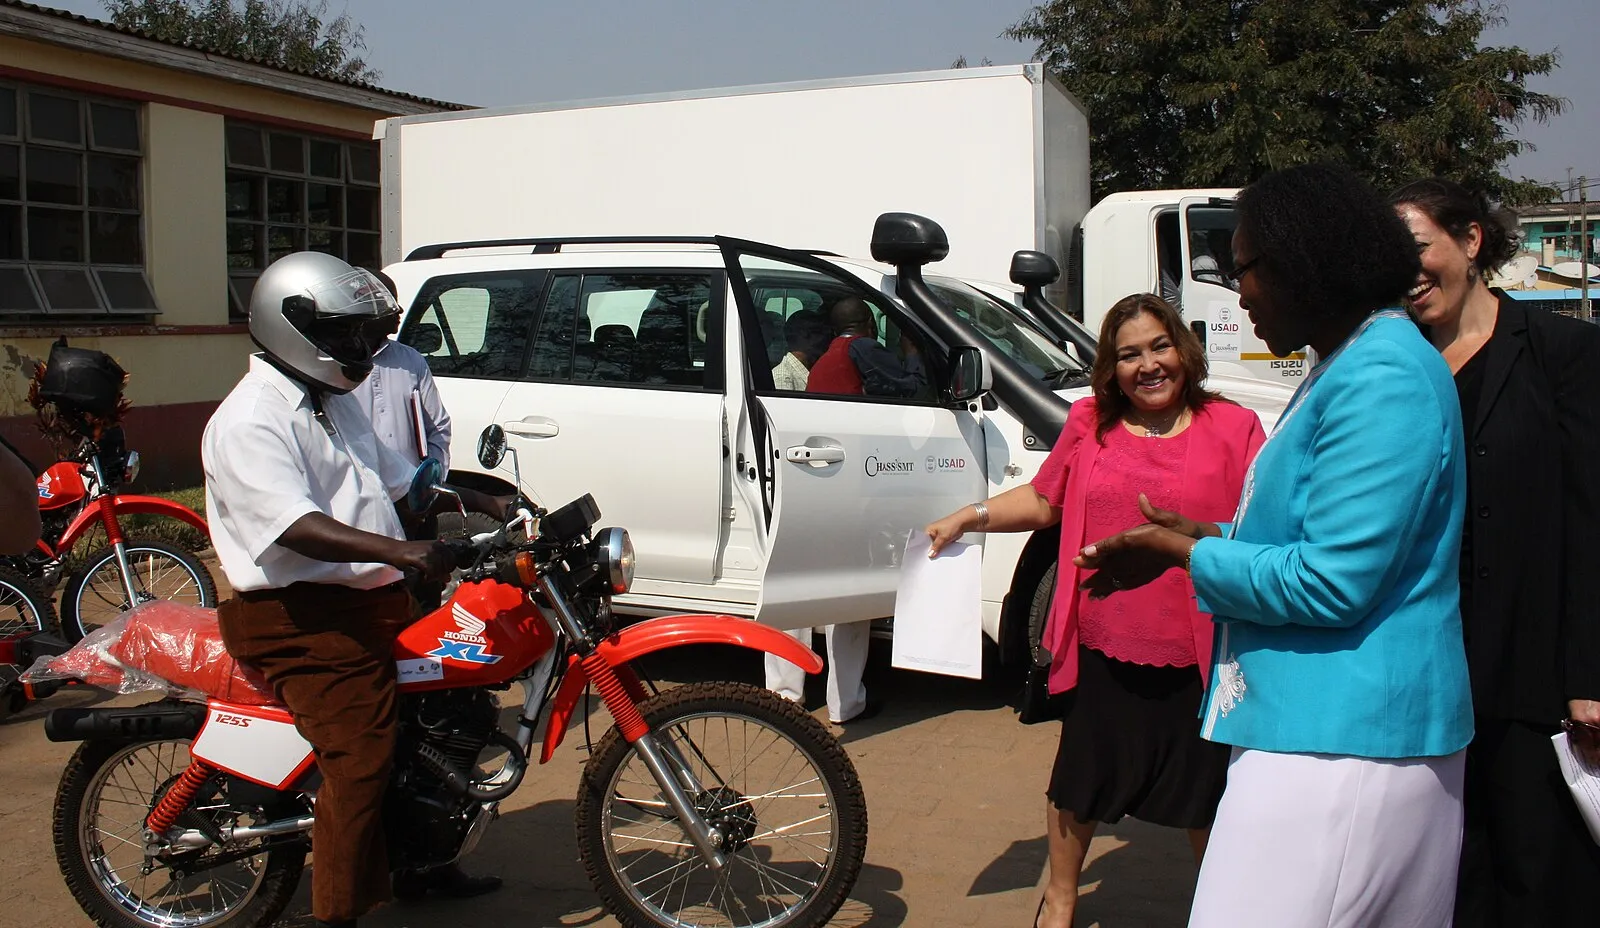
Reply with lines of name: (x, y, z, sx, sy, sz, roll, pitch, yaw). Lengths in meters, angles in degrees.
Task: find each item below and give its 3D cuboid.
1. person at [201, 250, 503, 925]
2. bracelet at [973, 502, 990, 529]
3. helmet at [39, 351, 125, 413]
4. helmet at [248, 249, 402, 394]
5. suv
person: (-1.821, 0.487, 4.134, 0.717, 2.554, 0.616, -5, 9, -24)
bracelet: (0.754, 0.221, 4.530, 0.060, 0.100, 0.090, 2, 23, 2)
helmet: (-4.715, -0.565, 7.268, 0.368, 0.424, 0.456, 12, 12, 32)
helmet: (-1.893, -0.565, 4.268, 0.524, 0.440, 0.421, 19, 6, -14)
suv: (-0.003, -0.074, 7.004, 4.736, 2.249, 2.715, 0, 5, 12)
